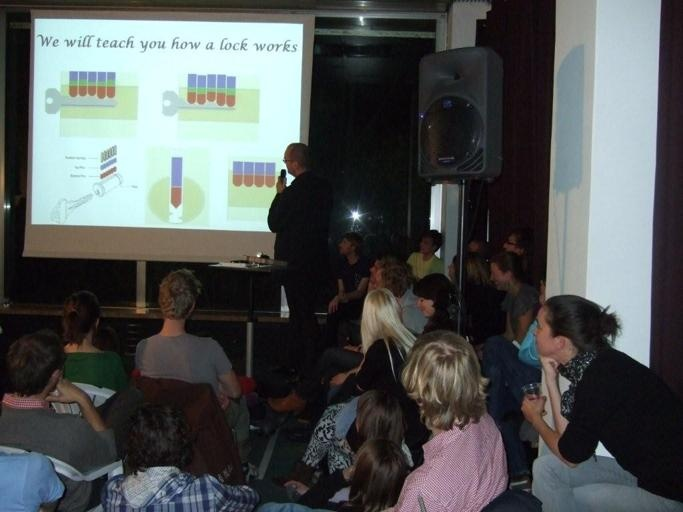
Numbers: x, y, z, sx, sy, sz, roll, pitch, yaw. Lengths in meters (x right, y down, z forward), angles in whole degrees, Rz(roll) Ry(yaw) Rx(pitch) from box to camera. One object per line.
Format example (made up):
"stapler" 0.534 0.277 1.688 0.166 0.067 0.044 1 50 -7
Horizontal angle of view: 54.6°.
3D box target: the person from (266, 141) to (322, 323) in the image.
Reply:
"person" -0.317 0.024 4.892 0.379 1.669 0.449 1 2 23

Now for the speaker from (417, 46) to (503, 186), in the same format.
"speaker" 0.737 -0.881 4.127 0.522 0.799 0.243 2 5 12
